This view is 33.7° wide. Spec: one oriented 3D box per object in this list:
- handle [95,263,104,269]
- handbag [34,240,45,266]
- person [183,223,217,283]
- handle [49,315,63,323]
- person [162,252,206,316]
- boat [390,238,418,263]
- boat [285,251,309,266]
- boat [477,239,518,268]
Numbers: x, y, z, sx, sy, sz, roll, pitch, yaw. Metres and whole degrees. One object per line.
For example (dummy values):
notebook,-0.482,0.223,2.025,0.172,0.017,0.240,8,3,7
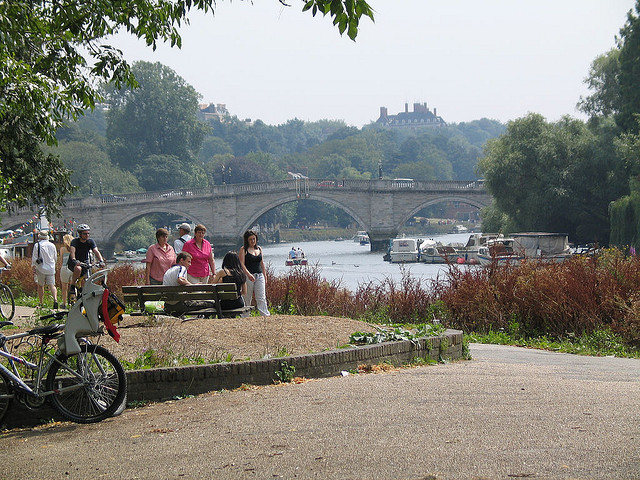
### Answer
handle,-4.166,0.497,20.101,0.115,0.073,0.179,-22,34,-27
handbag,-5.846,0.293,22.182,0.220,0.684,0.502,0,0,-3
person,-2.166,0.540,19.170,0.569,1.617,0.446,1,-4,-29
handle,-3.515,1.068,14.212,0.104,0.031,0.116,-18,-2,11
person,-2.291,0.722,18.283,0.681,1.045,0.625,-1,-5,-9
boat,4.757,0.652,60.040,1.187,0.826,2.200,-1,-2,1
boat,-0.946,0.772,39.086,0.618,0.456,1.191,0,-3,0
boat,5.313,0.370,31.571,0.674,0.688,2.443,2,6,5
